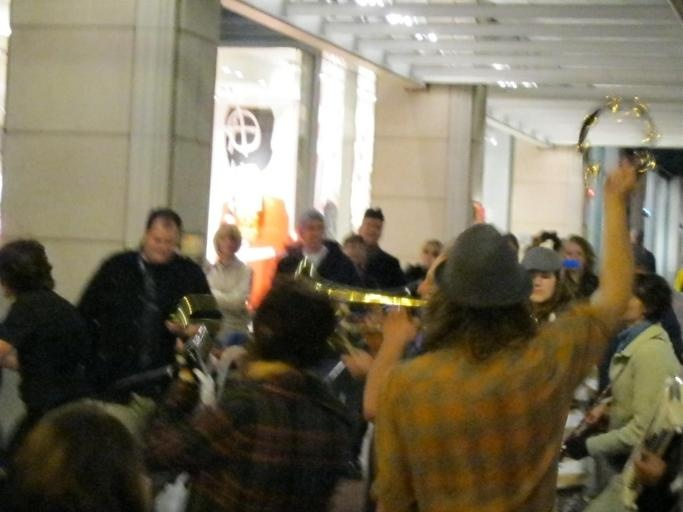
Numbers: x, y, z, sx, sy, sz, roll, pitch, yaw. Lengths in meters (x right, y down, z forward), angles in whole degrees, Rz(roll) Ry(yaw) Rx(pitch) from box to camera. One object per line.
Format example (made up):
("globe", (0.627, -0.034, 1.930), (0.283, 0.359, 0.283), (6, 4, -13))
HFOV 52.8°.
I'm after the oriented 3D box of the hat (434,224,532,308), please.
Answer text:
("hat", (0.395, -0.013, 1.914), (0.284, 0.150, 0.223), (-16, 45, -23))
